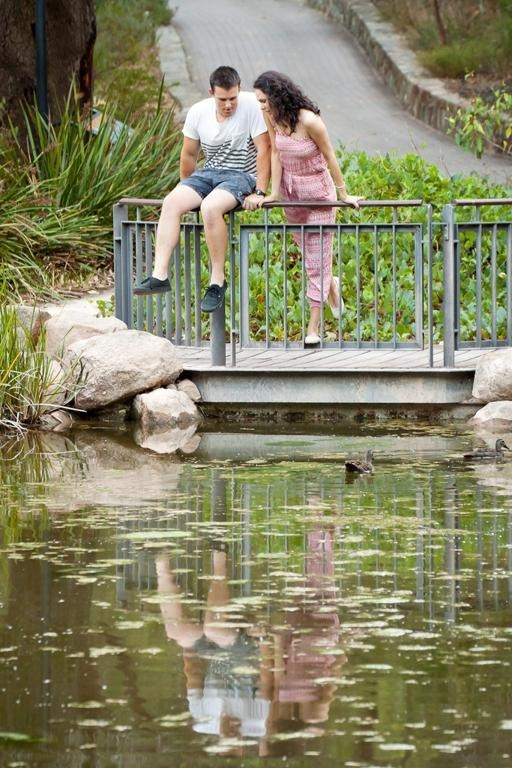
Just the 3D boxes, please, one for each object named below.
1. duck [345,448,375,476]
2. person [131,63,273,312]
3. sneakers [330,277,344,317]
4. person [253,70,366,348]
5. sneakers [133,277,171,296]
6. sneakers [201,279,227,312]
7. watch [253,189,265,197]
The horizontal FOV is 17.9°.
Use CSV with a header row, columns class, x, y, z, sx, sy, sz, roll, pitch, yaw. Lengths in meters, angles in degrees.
class,x,y,z,sx,sy,sz,roll,pitch,yaw
duck,0.476,0.371,7.371,0.122,0.110,0.070,0,1,-44
person,-0.292,-1.109,9.340,0.816,1.396,0.656,-5,8,-29
sneakers,0.495,-0.513,9.974,0.077,0.284,0.099,1,16,25
person,0.284,-0.999,9.519,0.528,1.610,1.079,-1,7,4
sneakers,-0.575,-0.540,9.137,0.214,0.113,0.088,0,-3,3
sneakers,-0.248,-0.466,9.168,0.072,0.083,0.226,4,43,10
watch,0.021,-1.094,9.312,0.037,0.047,0.043,-5,16,7
